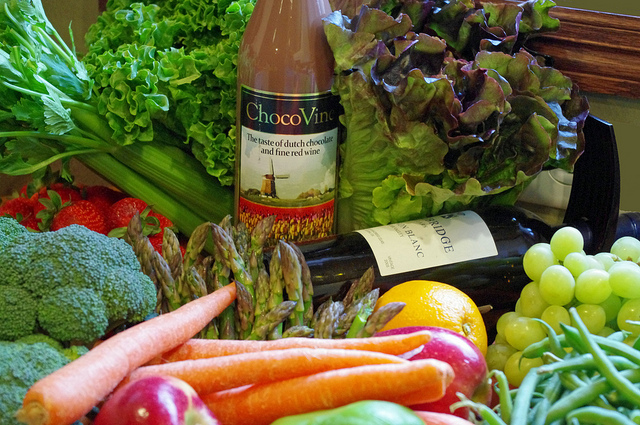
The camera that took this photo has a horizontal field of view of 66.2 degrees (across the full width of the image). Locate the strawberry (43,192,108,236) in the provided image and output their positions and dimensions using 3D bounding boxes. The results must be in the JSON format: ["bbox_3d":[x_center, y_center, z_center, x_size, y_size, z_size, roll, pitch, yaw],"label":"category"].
[{"bbox_3d":[-0.565,0.006,1.159,0.133,0.114,0.118,-4,0,-7],"label":"strawberry"}]

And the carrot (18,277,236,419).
[{"bbox_3d":[-0.245,0.192,0.852,0.084,0.070,0.486,23,35,32],"label":"carrot"}]

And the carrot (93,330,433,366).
[{"bbox_3d":[-0.086,0.209,0.747,0.438,0.048,0.050,-2,6,4],"label":"carrot"}]

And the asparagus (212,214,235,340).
[{"bbox_3d":[-0.177,0.115,0.924,0.035,0.244,0.041,-2,-18,17],"label":"asparagus"}]

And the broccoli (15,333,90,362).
[{"bbox_3d":[-0.410,0.206,0.758,0.068,0.028,0.052,20,30,-5],"label":"broccoli"}]

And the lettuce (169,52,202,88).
[{"bbox_3d":[-0.284,-0.298,1.064,0.075,0.035,0.068,-10,47,-13],"label":"lettuce"}]

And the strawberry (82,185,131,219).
[{"bbox_3d":[-0.540,-0.048,1.237,0.070,0.052,0.088,11,-22,-7],"label":"strawberry"}]

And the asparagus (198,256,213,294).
[{"bbox_3d":[-0.216,0.119,0.917,0.022,0.022,0.073,21,25,-26],"label":"asparagus"}]

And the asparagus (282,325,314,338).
[{"bbox_3d":[-0.036,0.204,0.830,0.064,0.023,0.020,-12,-16,22],"label":"asparagus"}]

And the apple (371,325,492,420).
[{"bbox_3d":[0.174,0.234,0.744,0.163,0.134,0.134,-2,9,1],"label":"apple"}]

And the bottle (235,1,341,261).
[{"bbox_3d":[-0.064,-0.178,1.010,0.229,0.461,0.206,4,29,1],"label":"bottle"}]

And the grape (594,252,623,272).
[{"bbox_3d":[0.536,0.088,0.914,0.034,0.042,0.033,-9,3,-11],"label":"grape"}]

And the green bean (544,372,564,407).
[{"bbox_3d":[0.323,0.244,0.674,0.015,0.015,0.065,15,44,14],"label":"green bean"}]

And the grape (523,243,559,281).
[{"bbox_3d":[0.402,0.091,0.904,0.061,0.075,0.063,-10,-1,26],"label":"grape"}]

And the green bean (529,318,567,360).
[{"bbox_3d":[0.355,0.198,0.761,0.027,0.027,0.090,14,-14,42],"label":"green bean"}]

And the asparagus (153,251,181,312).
[{"bbox_3d":[-0.279,0.131,0.891,0.019,0.107,0.024,-13,-10,-29],"label":"asparagus"}]

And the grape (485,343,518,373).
[{"bbox_3d":[0.330,0.269,0.908,0.051,0.042,0.040,-8,-5,-2],"label":"grape"}]

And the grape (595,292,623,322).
[{"bbox_3d":[0.511,0.167,0.858,0.043,0.051,0.044,0,-5,-5],"label":"grape"}]

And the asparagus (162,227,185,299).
[{"bbox_3d":[-0.276,0.085,0.943,0.032,0.160,0.041,-5,-7,10],"label":"asparagus"}]

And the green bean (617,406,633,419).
[{"bbox_3d":[0.402,0.264,0.646,0.020,0.007,0.010,6,11,34],"label":"green bean"}]

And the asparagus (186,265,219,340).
[{"bbox_3d":[-0.215,0.152,0.883,0.038,0.042,0.174,5,55,-28],"label":"asparagus"}]

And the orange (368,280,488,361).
[{"bbox_3d":[0.220,0.217,0.948,0.186,0.162,0.159,-15,22,34],"label":"orange"}]

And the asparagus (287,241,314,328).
[{"bbox_3d":[-0.024,0.141,0.885,0.029,0.197,0.029,-10,0,26],"label":"asparagus"}]

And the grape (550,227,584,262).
[{"bbox_3d":[0.459,0.063,0.922,0.048,0.057,0.047,-3,-3,-41],"label":"grape"}]

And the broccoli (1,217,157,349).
[{"bbox_3d":[-0.419,0.123,0.813,0.204,0.141,0.209,25,21,9],"label":"broccoli"}]

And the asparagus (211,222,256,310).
[{"bbox_3d":[-0.158,0.104,0.897,0.026,0.154,0.031,-23,5,39],"label":"asparagus"}]

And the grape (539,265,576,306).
[{"bbox_3d":[0.412,0.130,0.849,0.062,0.078,0.063,-3,0,-3],"label":"grape"}]

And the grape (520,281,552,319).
[{"bbox_3d":[0.402,0.170,0.916,0.056,0.067,0.055,-3,12,-29],"label":"grape"}]

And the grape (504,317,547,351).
[{"bbox_3d":[0.369,0.219,0.885,0.064,0.066,0.084,-5,-7,27],"label":"grape"}]

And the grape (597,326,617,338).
[{"bbox_3d":[0.506,0.211,0.864,0.021,0.016,0.026,-3,-4,-4],"label":"grape"}]

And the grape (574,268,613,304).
[{"bbox_3d":[0.471,0.129,0.841,0.044,0.038,0.037,-18,-29,2],"label":"grape"}]

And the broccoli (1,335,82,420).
[{"bbox_3d":[-0.401,0.237,0.737,0.111,0.063,0.086,-17,40,-33],"label":"broccoli"}]

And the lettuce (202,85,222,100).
[{"bbox_3d":[-0.239,-0.265,1.085,0.039,0.029,0.020,-5,30,-14],"label":"lettuce"}]

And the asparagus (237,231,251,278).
[{"bbox_3d":[-0.153,0.080,0.957,0.027,0.091,0.021,-26,-26,29],"label":"asparagus"}]

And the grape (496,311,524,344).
[{"bbox_3d":[0.347,0.214,0.916,0.050,0.060,0.051,2,-7,1],"label":"grape"}]
